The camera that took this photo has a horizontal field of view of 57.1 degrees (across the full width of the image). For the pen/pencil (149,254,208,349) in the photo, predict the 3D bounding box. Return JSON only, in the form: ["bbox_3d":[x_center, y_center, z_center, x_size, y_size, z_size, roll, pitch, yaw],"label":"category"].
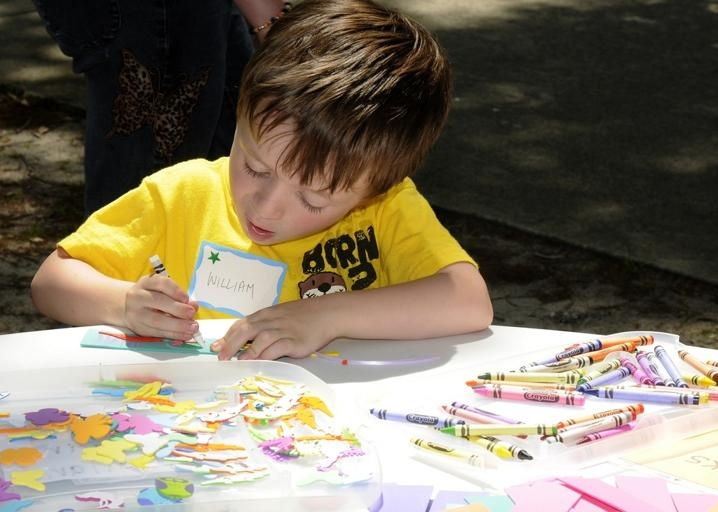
[{"bbox_3d":[-0.276,0.071,1.008,0.030,0.149,0.024,-15,23,37],"label":"pen/pencil"}]
